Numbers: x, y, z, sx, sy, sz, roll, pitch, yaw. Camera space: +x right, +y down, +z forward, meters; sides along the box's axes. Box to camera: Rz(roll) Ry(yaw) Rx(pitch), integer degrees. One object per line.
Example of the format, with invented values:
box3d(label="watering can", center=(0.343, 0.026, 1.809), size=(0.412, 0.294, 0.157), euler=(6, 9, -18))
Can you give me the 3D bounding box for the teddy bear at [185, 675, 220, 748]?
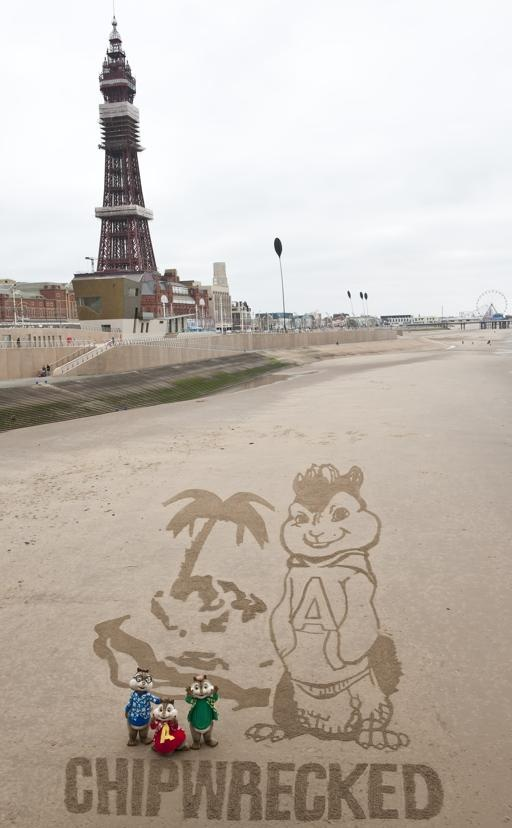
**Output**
box3d(label="teddy bear", center=(-0.407, 2.171, 4.565), size=(0.220, 0.537, 0.293), euler=(-3, 8, -5))
